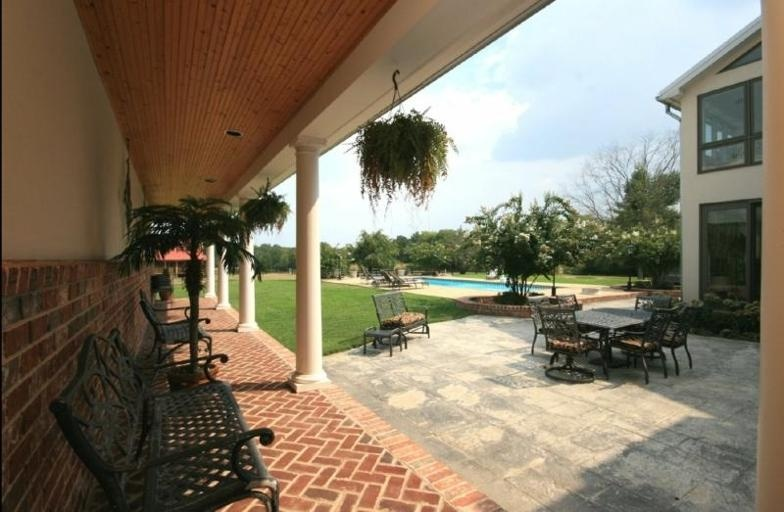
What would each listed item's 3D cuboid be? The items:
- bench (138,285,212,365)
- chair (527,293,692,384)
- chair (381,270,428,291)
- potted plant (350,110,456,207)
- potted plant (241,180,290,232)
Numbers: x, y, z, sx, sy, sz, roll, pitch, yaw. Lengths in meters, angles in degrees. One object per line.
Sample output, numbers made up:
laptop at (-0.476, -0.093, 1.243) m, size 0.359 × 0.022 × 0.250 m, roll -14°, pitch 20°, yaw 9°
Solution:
bench at (-4.237, 1.349, 9.086) m, size 0.901 × 0.849 × 1.499 m, roll -1°, pitch 4°, yaw -23°
chair at (3.732, 1.432, 8.185) m, size 2.537 × 1.122 × 1.759 m, roll -1°, pitch 0°, yaw -20°
chair at (0.603, 1.295, 26.740) m, size 1.940 × 0.968 × 4.580 m, roll -1°, pitch 0°, yaw -4°
potted plant at (0.063, -1.042, 5.493) m, size 1.082 × 0.981 × 1.054 m, roll 3°, pitch -16°, yaw -18°
potted plant at (-2.640, -0.933, 9.657) m, size 1.126 × 1.171 × 1.137 m, roll 3°, pitch 6°, yaw 42°
